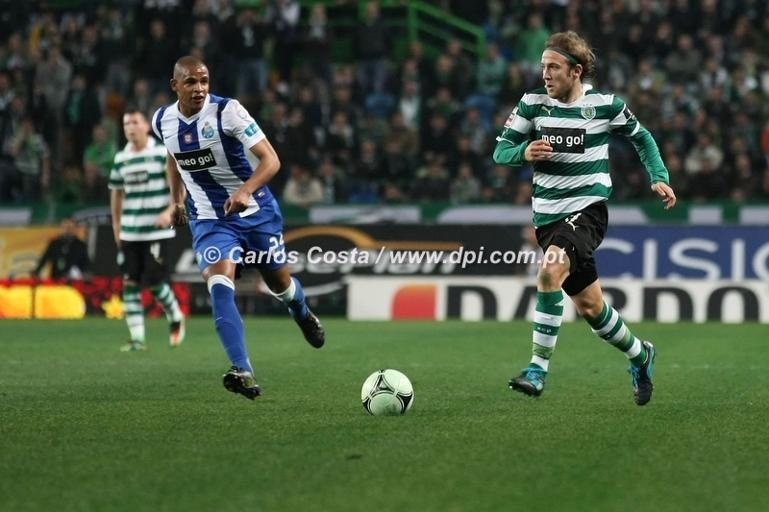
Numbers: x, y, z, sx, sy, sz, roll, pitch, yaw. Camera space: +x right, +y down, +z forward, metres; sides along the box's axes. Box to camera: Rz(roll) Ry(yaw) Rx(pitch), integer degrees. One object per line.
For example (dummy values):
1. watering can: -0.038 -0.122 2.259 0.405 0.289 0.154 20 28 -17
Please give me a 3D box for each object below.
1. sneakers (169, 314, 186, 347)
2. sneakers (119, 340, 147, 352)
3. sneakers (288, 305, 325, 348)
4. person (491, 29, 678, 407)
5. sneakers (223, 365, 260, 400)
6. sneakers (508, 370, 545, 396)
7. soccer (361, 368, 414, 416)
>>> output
1. sneakers: -2.560 0.943 12.167 0.168 0.514 0.219 -2 5 15
2. sneakers: -3.006 1.088 11.899 0.307 0.110 0.280 -2 0 -15
3. sneakers: -0.785 0.754 10.537 0.207 0.612 0.259 -32 26 -1
4. person: 1.802 -0.346 9.387 1.458 3.443 0.517 -2 0 6
5. sneakers: -1.227 1.136 8.858 0.179 0.401 0.236 -31 34 18
6. sneakers: 1.348 1.186 9.306 0.365 0.179 0.179 29 -11 -41
7. soccer: 0.067 1.210 8.947 0.408 0.415 0.408 -6 -31 -22
